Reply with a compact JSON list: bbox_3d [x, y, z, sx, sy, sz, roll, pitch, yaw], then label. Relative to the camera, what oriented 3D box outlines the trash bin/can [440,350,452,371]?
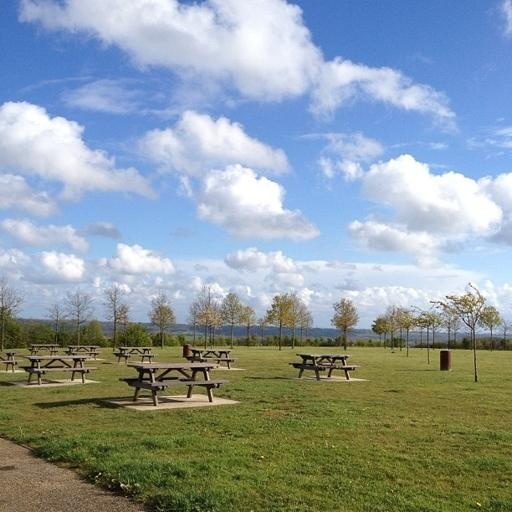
[{"bbox_3d":[9.343,5.100,24.750,0.470,0.931,0.745,-2,-8,18],"label":"trash bin/can"}]
